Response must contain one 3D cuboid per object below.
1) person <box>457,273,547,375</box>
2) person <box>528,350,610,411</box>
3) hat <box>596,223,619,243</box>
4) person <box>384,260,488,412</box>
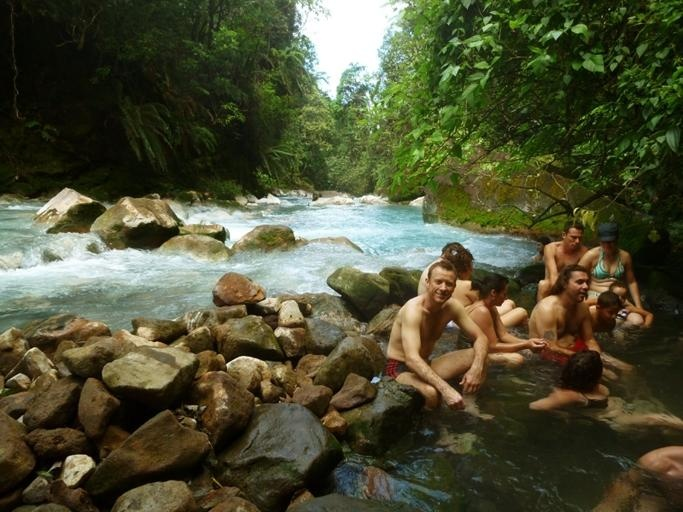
[{"bbox_3d":[1.819,0.783,6.005,1.172,1.049,0.790,-2,10,10],"label":"person"},{"bbox_3d":[2.313,1.230,5.103,0.928,0.513,0.354,-3,12,-9],"label":"person"},{"bbox_3d":[3.759,-0.336,7.188,0.238,0.261,0.220,6,14,34],"label":"hat"},{"bbox_3d":[0.988,0.862,5.358,1.060,1.196,0.905,1,12,11],"label":"person"}]
